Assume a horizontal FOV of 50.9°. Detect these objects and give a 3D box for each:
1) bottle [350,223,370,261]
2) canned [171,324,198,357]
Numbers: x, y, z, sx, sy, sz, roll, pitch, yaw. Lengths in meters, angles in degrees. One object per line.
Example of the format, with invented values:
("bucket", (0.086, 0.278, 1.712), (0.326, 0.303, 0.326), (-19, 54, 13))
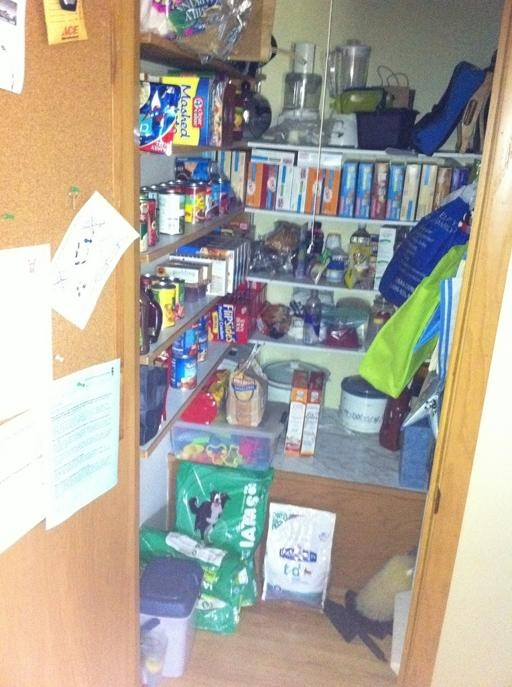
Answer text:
("bottle", (0.523, -0.508, 2.721), (0.123, 0.232, 0.134), (0, 17, 0))
("canned", (-0.228, -0.017, 1.807), (0.082, 0.106, 0.091), (2, 13, 4))
